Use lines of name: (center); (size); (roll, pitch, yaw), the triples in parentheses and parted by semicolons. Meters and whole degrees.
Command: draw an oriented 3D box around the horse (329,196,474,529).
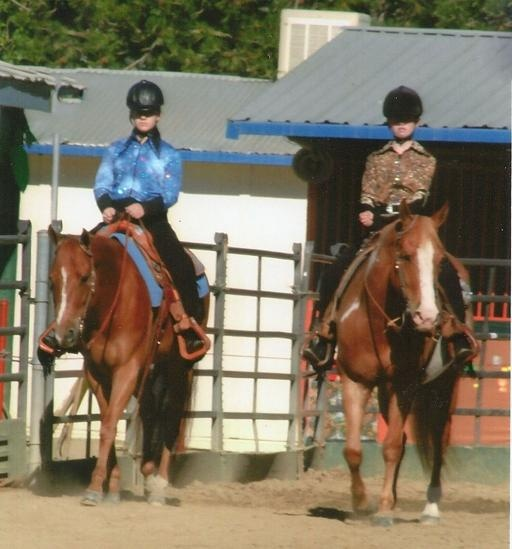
horse: (1.119, 0.680, 10.537); (1.029, 2.423, 1.552); (1, 1, 15)

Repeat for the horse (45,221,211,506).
horse: (-1.031, 0.689, 10.736); (0.794, 2.250, 1.804); (1, 1, 15)

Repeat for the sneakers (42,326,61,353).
sneakers: (-1.505, 0.479, 10.161); (0.068, 0.198, 0.147); (-2, 19, -18)

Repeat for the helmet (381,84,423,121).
helmet: (1.189, -1.387, 11.162); (0.349, 0.297, 0.500); (4, 4, 7)

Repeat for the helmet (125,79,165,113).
helmet: (-0.878, -1.422, 10.990); (0.209, 0.195, 0.289); (0, 14, -4)

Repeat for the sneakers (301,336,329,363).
sneakers: (0.474, 0.608, 11.288); (0.318, 0.242, 0.107); (2, -10, 41)
